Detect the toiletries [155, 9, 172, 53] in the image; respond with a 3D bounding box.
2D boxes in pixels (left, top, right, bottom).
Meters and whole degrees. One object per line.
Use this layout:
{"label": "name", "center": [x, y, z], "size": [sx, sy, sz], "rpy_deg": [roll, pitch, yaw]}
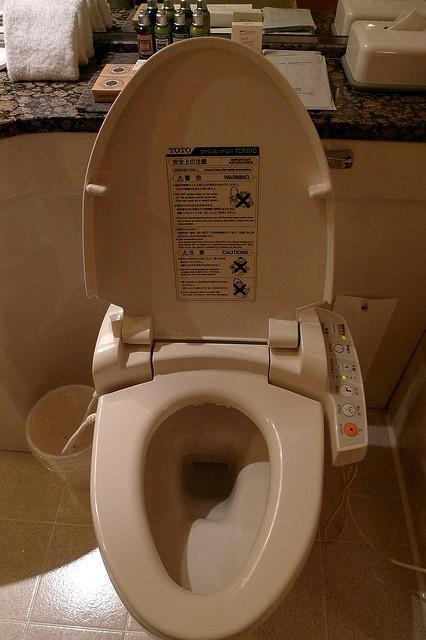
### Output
{"label": "toiletries", "center": [-0.086, -0.488, 0.826], "size": [0.027, 0.073, 0.027], "rpy_deg": [-15, 70, -8]}
